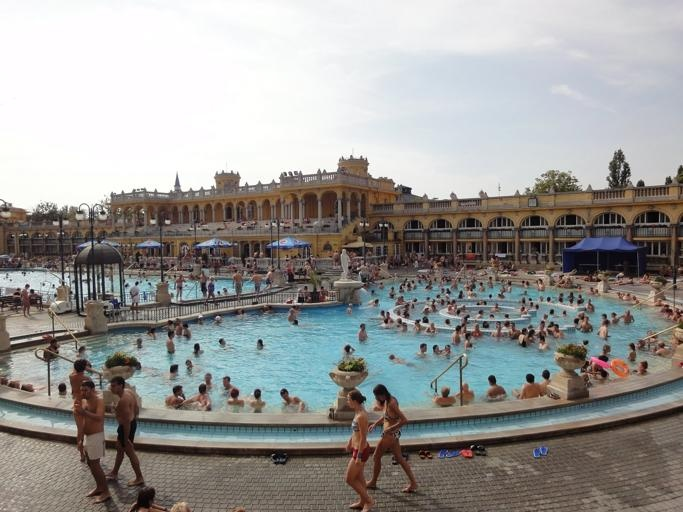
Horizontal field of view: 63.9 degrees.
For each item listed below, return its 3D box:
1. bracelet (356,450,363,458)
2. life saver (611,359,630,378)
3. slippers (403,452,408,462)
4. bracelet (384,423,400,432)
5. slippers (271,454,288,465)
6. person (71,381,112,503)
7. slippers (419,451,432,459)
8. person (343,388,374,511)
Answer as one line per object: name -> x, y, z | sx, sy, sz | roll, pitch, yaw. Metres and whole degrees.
bracelet -> 0.330, 3.664, 10.076 | 0.032, 0.107, 0.107 | 0, 13, -29
life saver -> 7.765, 3.252, 15.535 | 0.544, 0.145, 0.547 | 34, 46, 29
slippers -> 1.337, 4.224, 11.507 | 0.078, 0.098, 0.248 | 3, 13, -3
bracelet -> 0.955, 3.291, 10.515 | 0.293, 0.199, 0.079 | 0, 1, 7
slippers -> -1.286, 4.235, 11.436 | 0.323, 0.152, 0.238 | 0, 0, 2
person -> -4.750, 3.564, 10.579 | 0.692, 2.231, 0.460 | 0, 1, 44
slippers -> 1.772, 4.198, 11.584 | 0.280, 0.109, 0.191 | 0, 0, 5
person -> 0.323, 3.644, 10.386 | 0.507, 2.197, 0.765 | 0, 1, 0
